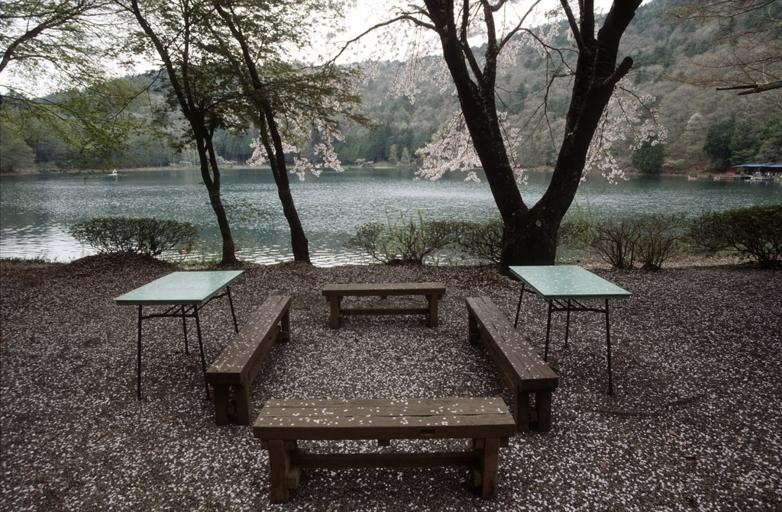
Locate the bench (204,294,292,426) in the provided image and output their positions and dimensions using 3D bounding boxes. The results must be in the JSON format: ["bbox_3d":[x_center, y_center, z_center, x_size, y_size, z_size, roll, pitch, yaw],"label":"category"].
[{"bbox_3d":[-2.103,1.639,8.225,0.504,1.138,1.566,0,16,15],"label":"bench"}]
